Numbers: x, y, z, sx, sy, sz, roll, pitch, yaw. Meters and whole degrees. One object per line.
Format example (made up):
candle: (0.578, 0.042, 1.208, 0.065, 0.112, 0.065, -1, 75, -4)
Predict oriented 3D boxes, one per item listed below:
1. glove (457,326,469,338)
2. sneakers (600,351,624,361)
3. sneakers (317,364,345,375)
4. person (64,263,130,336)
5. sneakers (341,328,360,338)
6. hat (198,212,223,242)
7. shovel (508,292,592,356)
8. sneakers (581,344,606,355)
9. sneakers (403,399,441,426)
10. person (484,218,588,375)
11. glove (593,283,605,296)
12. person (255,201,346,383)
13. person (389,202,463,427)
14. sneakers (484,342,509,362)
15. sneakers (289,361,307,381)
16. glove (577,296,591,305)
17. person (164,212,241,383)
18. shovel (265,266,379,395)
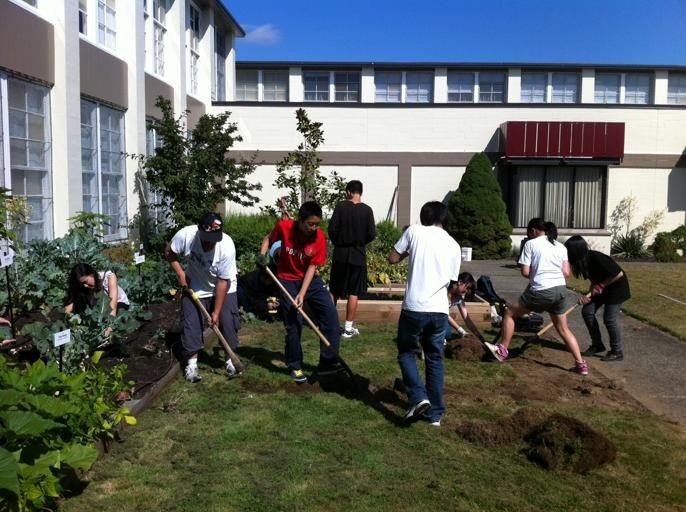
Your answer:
glove: (1.812, 1.152, 8.503, 0.134, 0.103, 0.309, -26, -13, 6)
sneakers: (3.826, 1.414, 8.096, 0.348, 0.164, 0.134, 0, 3, -1)
sneakers: (-0.147, 1.410, 7.021, 0.345, 0.164, 0.119, -3, 3, 1)
person: (-3.027, 0.558, 6.927, 0.483, 0.750, 0.667, 11, 44, 19)
sneakers: (0.118, 1.168, 8.627, 0.099, 0.133, 0.273, 4, 3, 44)
hat: (-1.487, -0.328, 6.325, 0.220, 0.186, 0.341, 2, 44, -24)
shovel: (2.623, 0.950, 7.653, 0.786, 0.902, 0.360, 2, -1, -25)
sneakers: (3.687, 1.361, 8.316, 0.403, 0.197, 0.142, -2, 3, -12)
sneakers: (0.824, 1.610, 5.779, 0.125, 0.160, 0.347, 7, -40, -43)
person: (2.666, 0.527, 7.617, 1.229, 1.972, 0.705, 6, 12, 20)
glove: (3.600, 0.471, 7.949, 0.051, 0.122, 0.143, 33, 3, 10)
person: (-0.479, 0.422, 6.822, 0.830, 2.081, 0.850, 0, 6, 13)
person: (0.892, 0.605, 5.905, 0.666, 2.256, 0.901, 1, 11, -4)
sneakers: (2.092, 1.317, 7.705, 0.296, 0.134, 0.107, 42, 4, 4)
sneakers: (-0.535, 1.399, 6.776, 0.112, 0.166, 0.336, -1, 0, -23)
glove: (3.468, 0.619, 8.103, 0.159, 0.102, 0.224, -6, 2, 31)
person: (-1.620, 0.463, 6.595, 0.807, 1.964, 0.566, -1, 11, -14)
shovel: (-0.319, 1.006, 7.450, 1.755, 0.138, 0.292, 47, 6, 9)
